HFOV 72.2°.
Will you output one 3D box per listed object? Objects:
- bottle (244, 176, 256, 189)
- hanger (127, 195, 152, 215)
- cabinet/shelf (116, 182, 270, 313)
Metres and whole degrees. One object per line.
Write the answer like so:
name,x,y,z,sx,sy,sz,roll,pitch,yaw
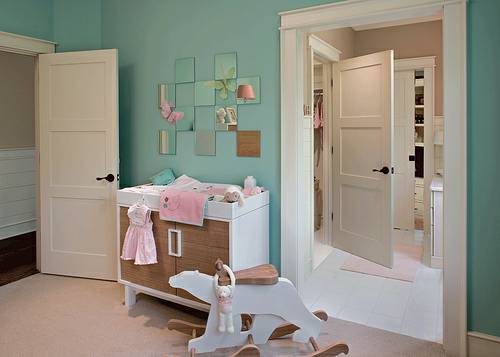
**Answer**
bottle,-0.003,0.038,3.295,0.104,0.208,0.114,0,-2,0
hanger,-1.023,0.245,3.201,0.158,0.165,0.091,2,-16,22
cabinet/shelf,-0.549,0.735,3.448,1.355,1.164,0.761,4,8,25
